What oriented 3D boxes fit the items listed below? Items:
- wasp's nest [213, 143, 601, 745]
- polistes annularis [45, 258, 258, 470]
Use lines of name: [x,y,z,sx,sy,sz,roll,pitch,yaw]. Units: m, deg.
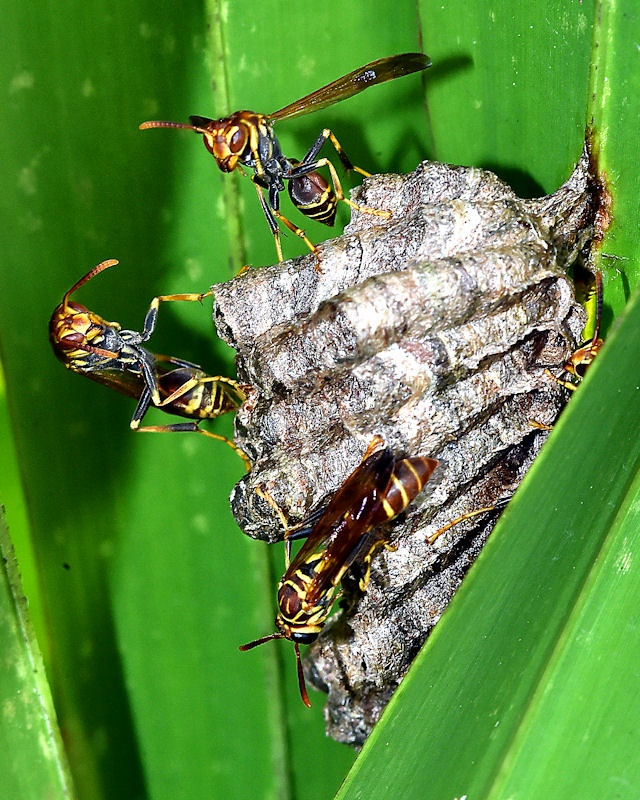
wasp's nest: [0.169,0.139,1.367,0.608,0.983,0.334,-14,24,-7]
polistes annularis: [-0.317,-0.054,1.522,0.119,0.384,0.345,3,62,57]
